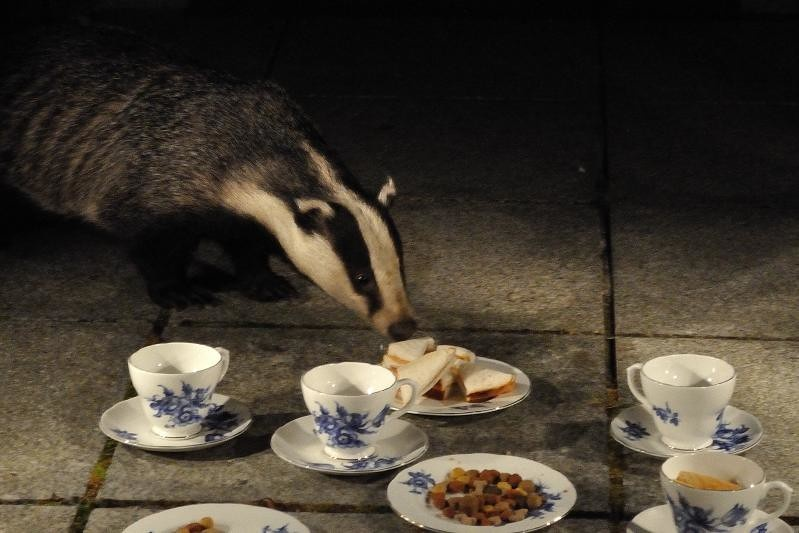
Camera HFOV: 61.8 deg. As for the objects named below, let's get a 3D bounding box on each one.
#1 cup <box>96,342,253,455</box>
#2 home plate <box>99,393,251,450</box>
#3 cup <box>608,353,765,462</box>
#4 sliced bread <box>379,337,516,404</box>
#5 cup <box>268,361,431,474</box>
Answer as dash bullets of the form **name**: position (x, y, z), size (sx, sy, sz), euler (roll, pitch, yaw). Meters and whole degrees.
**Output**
- **cup**: position (-0.320, 0.207, 1.062), size (0.240, 0.072, 0.233), euler (3, 14, -1)
- **home plate**: position (-0.351, 0.235, 1.006), size (0.205, 0.201, 0.021), euler (-29, 48, 31)
- **cup**: position (0.445, 0.235, 1.029), size (0.219, 0.067, 0.170), euler (1, 9, 17)
- **sliced bread**: position (0.073, 0.180, 1.180), size (0.170, 0.029, 0.144), euler (10, 19, 27)
- **cup**: position (-0.061, 0.225, 0.938), size (0.290, 0.087, 0.198), euler (-2, 14, -9)
